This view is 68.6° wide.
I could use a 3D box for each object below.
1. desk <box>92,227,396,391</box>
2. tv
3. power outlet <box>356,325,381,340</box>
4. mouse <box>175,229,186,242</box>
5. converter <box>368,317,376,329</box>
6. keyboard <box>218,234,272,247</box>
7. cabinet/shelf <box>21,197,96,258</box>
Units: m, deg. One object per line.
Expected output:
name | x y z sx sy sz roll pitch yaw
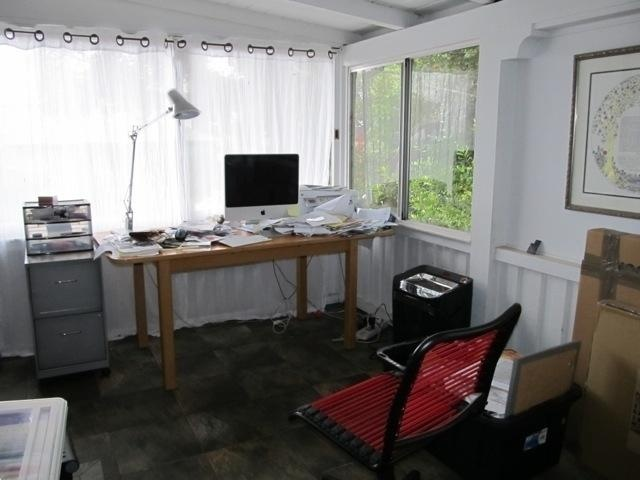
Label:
desk | -0.658 0.614 3.552 2.207 1.050 1.055 -5 8 -33
tv | -0.483 -0.405 3.714 0.624 0.542 0.214 -5 12 -26
power outlet | 0.405 0.760 3.852 0.175 0.041 0.091 -9 16 -42
mouse | -0.947 -0.035 3.217 0.057 0.076 0.077 4 36 -11
converter | 0.440 0.698 3.940 0.073 0.128 0.079 0 1 16
keyboard | -0.521 0.000 3.263 0.358 0.035 0.257 -11 16 -31
cabinet/shelf | -1.782 -0.104 3.185 0.426 0.389 0.187 -9 14 -24
